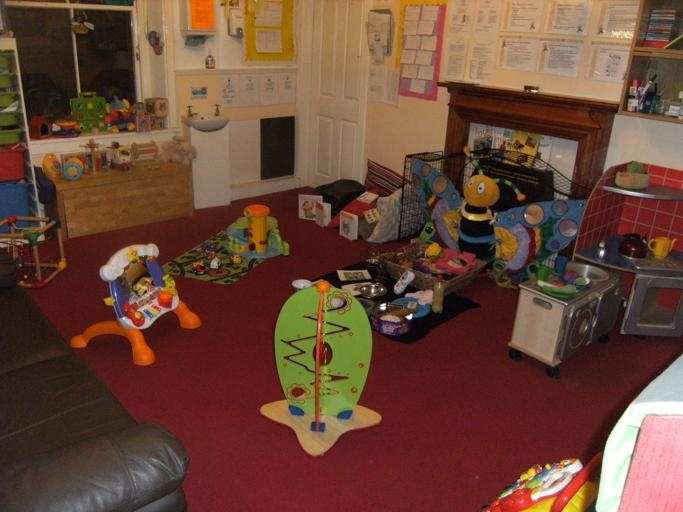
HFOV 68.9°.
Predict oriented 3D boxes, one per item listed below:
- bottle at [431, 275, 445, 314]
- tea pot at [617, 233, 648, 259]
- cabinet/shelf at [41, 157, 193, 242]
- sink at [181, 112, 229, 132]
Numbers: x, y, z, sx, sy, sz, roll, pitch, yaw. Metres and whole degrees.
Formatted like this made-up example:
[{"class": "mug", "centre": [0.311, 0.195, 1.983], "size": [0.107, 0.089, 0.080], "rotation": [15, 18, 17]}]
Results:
[{"class": "bottle", "centre": [0.861, 0.335, 4.410], "size": [0.110, 0.302, 0.251], "rotation": [8, 27, 11]}, {"class": "tea pot", "centre": [2.437, -0.086, 4.189], "size": [0.215, 0.162, 0.213], "rotation": [-3, 27, 2]}, {"class": "cabinet/shelf", "centre": [-2.559, -0.720, 5.852], "size": [1.565, 0.688, 0.525], "rotation": [-17, 38, -38]}, {"class": "sink", "centre": [-1.696, -1.659, 6.216], "size": [0.509, 0.196, 0.274], "rotation": [-14, 31, -29]}]
